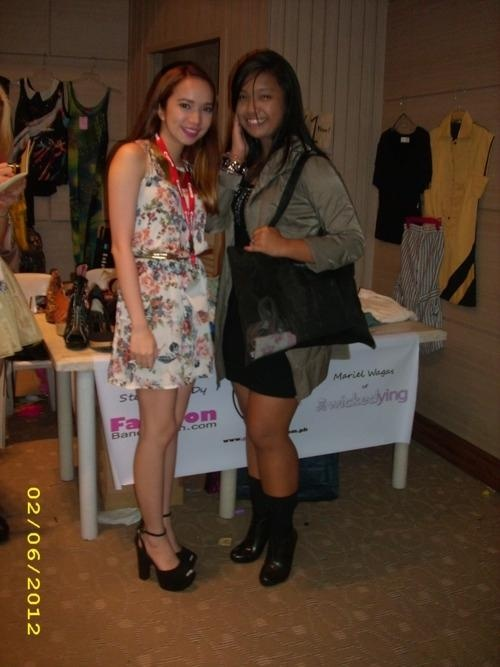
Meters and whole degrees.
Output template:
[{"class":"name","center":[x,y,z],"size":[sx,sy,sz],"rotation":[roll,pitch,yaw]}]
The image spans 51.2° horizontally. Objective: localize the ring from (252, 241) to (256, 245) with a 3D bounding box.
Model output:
[{"class":"ring","center":[0.012,-0.235,1.353],"size":[0.007,0.011,0.011],"rotation":[-1,-1,5]}]

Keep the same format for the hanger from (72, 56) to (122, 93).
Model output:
[{"class":"hanger","center":[-1.512,-2.534,5.101],"size":[0.469,0.268,0.022],"rotation":[-5,23,-19]}]

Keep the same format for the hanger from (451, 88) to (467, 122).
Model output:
[{"class":"hanger","center":[1.118,-1.215,2.786],"size":[0.104,0.138,0.059],"rotation":[-4,8,-13]}]

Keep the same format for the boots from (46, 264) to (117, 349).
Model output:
[{"class":"boots","center":[-0.688,-0.100,2.161],"size":[0.218,0.279,0.673],"rotation":[-1,4,-9]}]

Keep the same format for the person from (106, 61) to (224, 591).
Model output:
[{"class":"person","center":[-0.259,0.057,1.549],"size":[0.301,1.615,0.407],"rotation":[2,7,-5]}]

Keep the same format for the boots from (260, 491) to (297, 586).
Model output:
[{"class":"boots","center":[0.091,0.673,1.741],"size":[0.101,0.247,0.257],"rotation":[1,13,17]}]

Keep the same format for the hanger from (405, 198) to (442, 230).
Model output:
[{"class":"hanger","center":[1.029,-0.697,3.062],"size":[0.242,0.156,0.136],"rotation":[6,6,34]}]

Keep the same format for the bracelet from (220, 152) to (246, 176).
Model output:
[{"class":"bracelet","center":[-0.049,-0.497,1.559],"size":[0.054,0.039,0.071],"rotation":[33,12,30]}]
